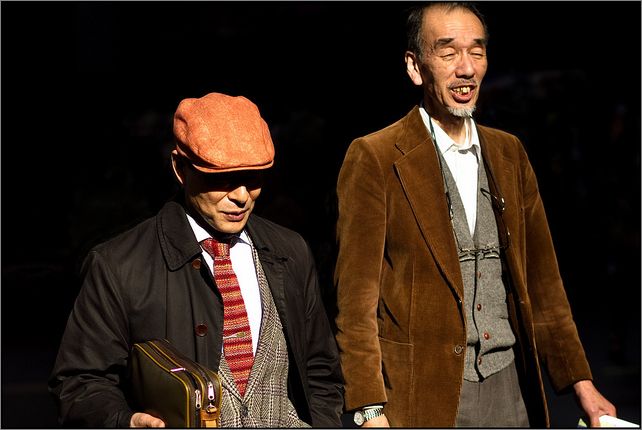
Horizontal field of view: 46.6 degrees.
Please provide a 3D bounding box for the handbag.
[{"bbox_3d":[-0.938,1.086,4.728,0.433,0.422,0.169,17,20,36],"label":"handbag"}]

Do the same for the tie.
[{"bbox_3d":[-0.599,0.621,5.009,0.229,1.203,0.136,-9,-9,-9],"label":"tie"}]
